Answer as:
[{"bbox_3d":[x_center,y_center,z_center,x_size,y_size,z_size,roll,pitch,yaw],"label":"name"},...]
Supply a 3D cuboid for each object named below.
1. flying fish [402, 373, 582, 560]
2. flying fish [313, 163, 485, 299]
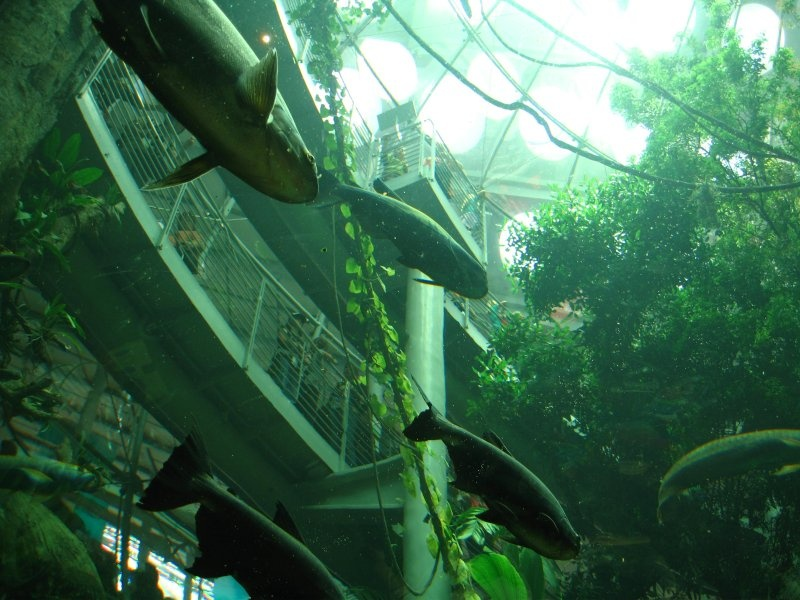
[{"bbox_3d":[0.897,1.586,8.179,2.283,0.939,0.467,42,-18,-2],"label":"flying fish"},{"bbox_3d":[-0.089,-0.754,9.750,2.410,0.811,0.515,39,3,13],"label":"flying fish"}]
